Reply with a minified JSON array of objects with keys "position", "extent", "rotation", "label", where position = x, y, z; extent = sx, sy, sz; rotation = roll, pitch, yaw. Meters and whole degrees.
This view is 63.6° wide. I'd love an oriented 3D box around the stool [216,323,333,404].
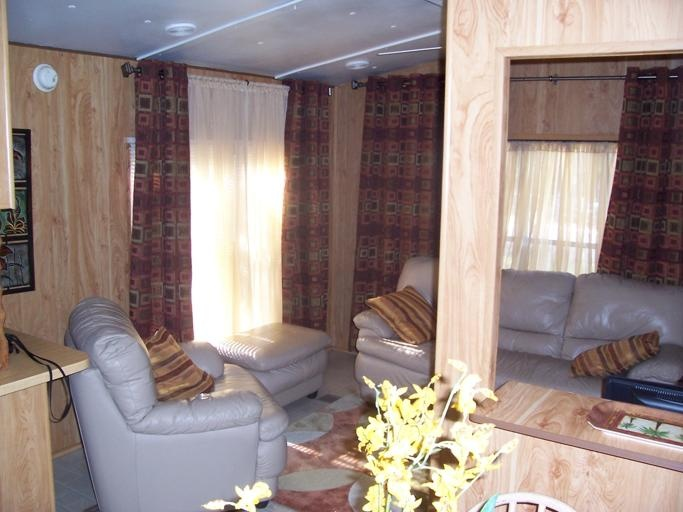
[{"position":[-0.595,0.923,4.665],"extent":[0.910,0.564,0.725],"rotation":[0,10,40],"label":"stool"}]
